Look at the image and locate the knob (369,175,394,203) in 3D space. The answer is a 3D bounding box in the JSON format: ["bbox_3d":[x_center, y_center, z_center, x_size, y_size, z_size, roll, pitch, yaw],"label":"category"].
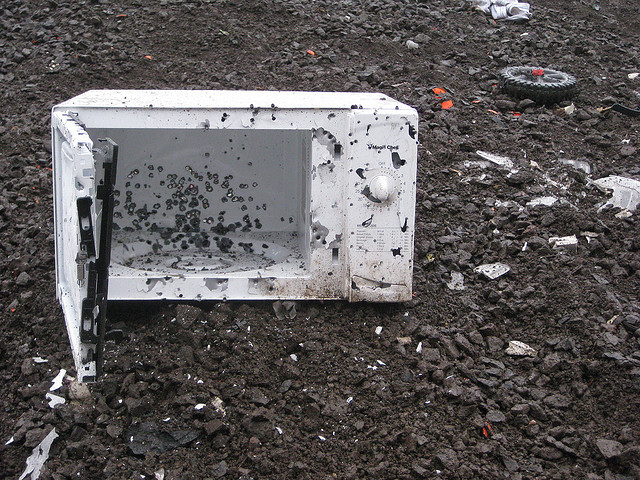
[{"bbox_3d":[0.327,-0.292,4.090,0.131,0.103,0.109,13,43,10],"label":"knob"}]
